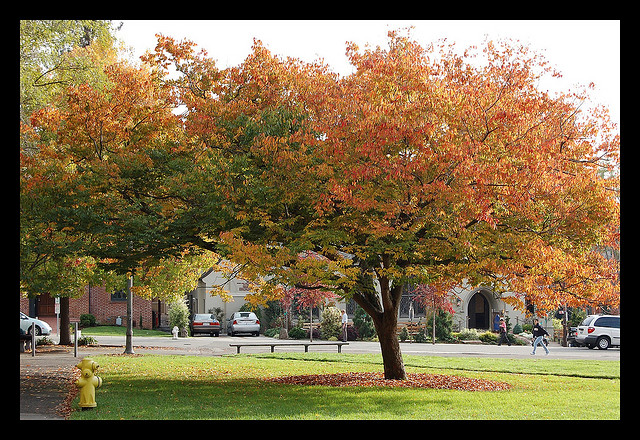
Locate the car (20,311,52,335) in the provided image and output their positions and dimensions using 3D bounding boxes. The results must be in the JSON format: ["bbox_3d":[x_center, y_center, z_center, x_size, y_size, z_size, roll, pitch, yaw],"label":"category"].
[{"bbox_3d":[-16.072,5.641,44.544,2.629,1.183,1.472,1,-3,-7],"label":"car"}]

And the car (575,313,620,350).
[{"bbox_3d":[15.594,6.300,46.602,2.614,2.401,1.839,-4,0,3],"label":"car"}]

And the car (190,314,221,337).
[{"bbox_3d":[-7.371,6.777,52.805,1.564,1.109,3.565,1,-3,-9],"label":"car"}]

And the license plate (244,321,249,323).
[{"bbox_3d":[-4.746,6.566,53.180,0.282,0.088,0.080,0,-11,-6],"label":"license plate"}]

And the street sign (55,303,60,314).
[{"bbox_3d":[-11.725,3.906,36.744,0.116,0.426,0.397,0,-11,-5],"label":"street sign"}]

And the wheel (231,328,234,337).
[{"bbox_3d":[-5.690,7.388,53.606,0.234,0.401,0.225,2,3,0],"label":"wheel"}]

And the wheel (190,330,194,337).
[{"bbox_3d":[-8.280,7.381,53.356,0.266,0.461,0.258,2,-5,0],"label":"wheel"}]

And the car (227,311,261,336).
[{"bbox_3d":[-4.908,6.712,53.418,1.865,1.460,0.940,-2,-11,5],"label":"car"}]

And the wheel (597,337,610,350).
[{"bbox_3d":[15.687,6.815,45.569,0.649,0.652,0.403,-4,-11,16],"label":"wheel"}]

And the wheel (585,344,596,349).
[{"bbox_3d":[15.195,7.073,46.321,0.347,0.074,0.339,0,-4,0],"label":"wheel"}]

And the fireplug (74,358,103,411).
[{"bbox_3d":[-6.686,4.719,23.762,0.684,1.457,0.835,2,-11,-14],"label":"fireplug"}]

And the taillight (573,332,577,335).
[{"bbox_3d":[14.607,6.503,47.117,0.226,0.143,0.119,0,-15,1],"label":"taillight"}]

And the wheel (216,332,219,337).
[{"bbox_3d":[-6.580,7.311,52.732,0.152,0.259,0.275,0,-2,-11],"label":"wheel"}]

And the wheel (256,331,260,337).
[{"bbox_3d":[-4.108,7.447,54.016,0.282,0.345,0.369,-1,0,5],"label":"wheel"}]

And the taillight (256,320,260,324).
[{"bbox_3d":[-4.058,6.588,53.446,0.166,0.212,0.225,-1,-53,-3],"label":"taillight"}]

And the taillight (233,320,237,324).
[{"bbox_3d":[-5.496,6.585,53.185,0.218,0.199,0.200,0,-40,-4],"label":"taillight"}]
